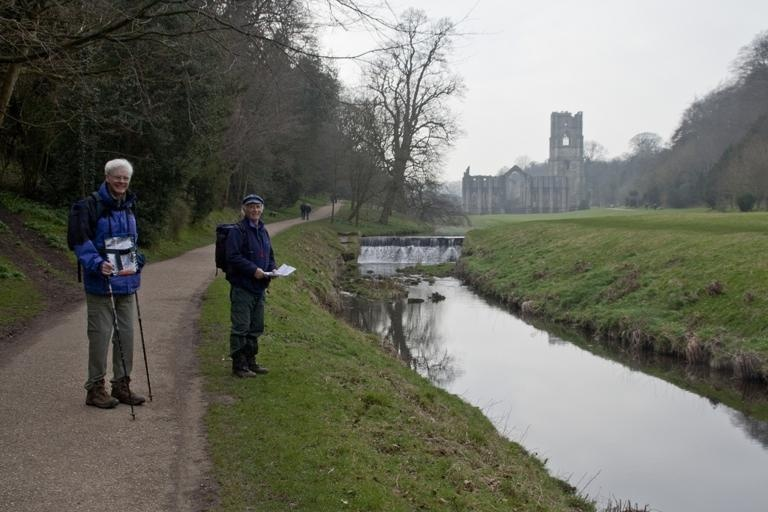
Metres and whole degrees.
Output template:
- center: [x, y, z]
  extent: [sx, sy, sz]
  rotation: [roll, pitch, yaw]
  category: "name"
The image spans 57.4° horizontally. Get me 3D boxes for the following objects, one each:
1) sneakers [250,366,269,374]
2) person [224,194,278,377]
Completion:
- center: [-2.915, 2.681, 16.545]
  extent: [0.433, 0.211, 0.161]
  rotation: [0, 0, -2]
  category: "sneakers"
- center: [-3.073, 0.684, 16.249]
  extent: [0.821, 4.166, 0.963]
  rotation: [4, 8, 36]
  category: "person"
